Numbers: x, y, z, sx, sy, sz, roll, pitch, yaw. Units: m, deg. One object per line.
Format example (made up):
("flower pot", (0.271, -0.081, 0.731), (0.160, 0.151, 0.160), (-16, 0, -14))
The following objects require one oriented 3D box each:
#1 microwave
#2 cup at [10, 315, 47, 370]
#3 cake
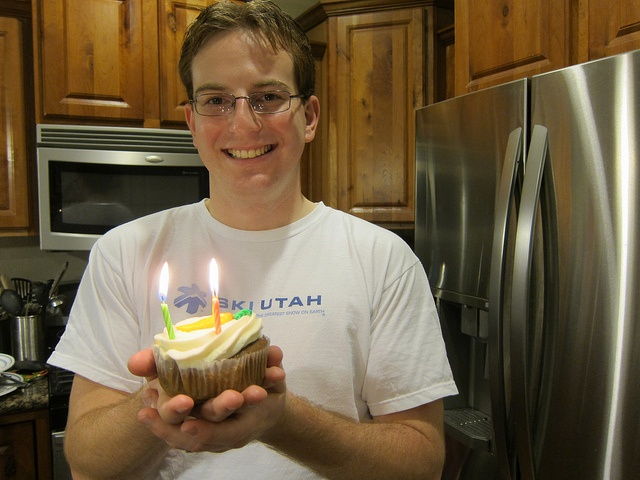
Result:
("microwave", (-0.967, -0.260, 2.797), (0.923, 0.716, 0.525), (-1, 1, -15))
("cup", (-1.394, 0.474, 2.800), (0.148, 0.224, 0.137), (-1, 4, 0))
("cake", (-0.254, 0.245, 1.401), (0.199, 0.154, 0.205), (-3, 0, 28))
